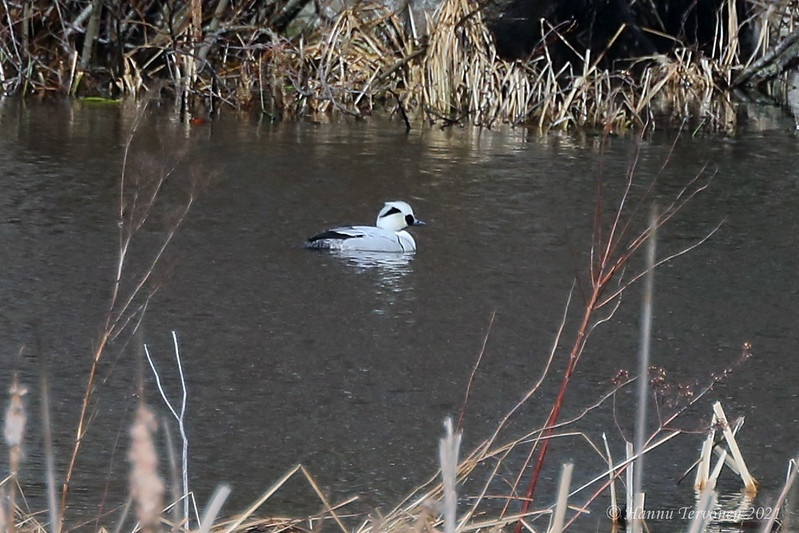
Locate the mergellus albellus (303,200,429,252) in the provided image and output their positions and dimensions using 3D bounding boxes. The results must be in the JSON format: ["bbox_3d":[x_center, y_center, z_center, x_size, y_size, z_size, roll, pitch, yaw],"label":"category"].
[{"bbox_3d":[-0.353,-0.391,11.044,1.129,0.417,0.702,2,14,-4],"label":"mergellus albellus"}]
